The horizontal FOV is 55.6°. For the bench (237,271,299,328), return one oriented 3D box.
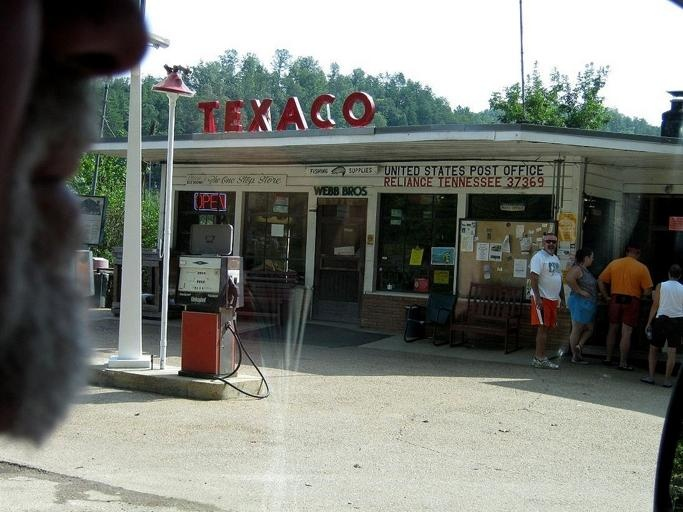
[{"bbox_3d":[-1.633,0.969,14.807,1.105,0.899,1.173,1,0,20],"label":"bench"}]

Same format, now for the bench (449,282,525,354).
[{"bbox_3d":[2.737,1.157,12.256,1.195,1.257,0.848,3,1,41],"label":"bench"}]

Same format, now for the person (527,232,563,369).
[{"bbox_3d":[3.236,0.697,10.273,0.426,2.010,0.666,2,1,27],"label":"person"}]

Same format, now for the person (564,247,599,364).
[{"bbox_3d":[3.992,0.823,10.824,0.476,1.843,0.779,2,1,22],"label":"person"}]

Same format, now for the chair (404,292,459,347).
[{"bbox_3d":[1.763,1.226,12.691,0.805,0.990,0.758,0,3,-43],"label":"chair"}]

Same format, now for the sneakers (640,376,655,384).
[{"bbox_3d":[4.545,1.806,9.656,0.105,0.078,0.186,1,6,-18],"label":"sneakers"}]
